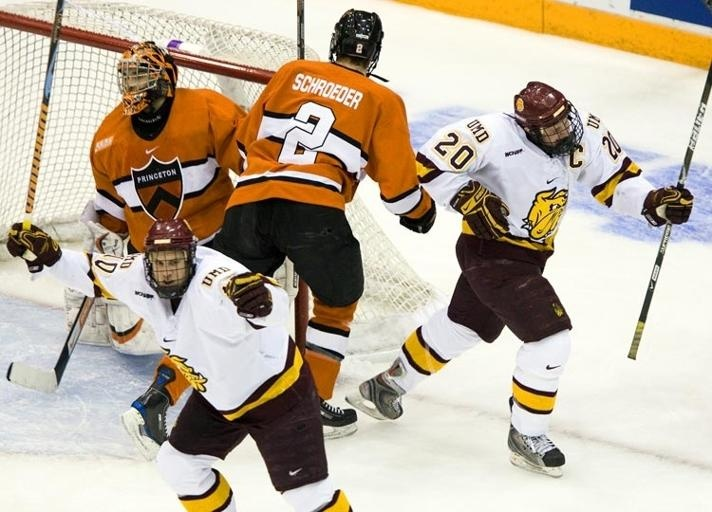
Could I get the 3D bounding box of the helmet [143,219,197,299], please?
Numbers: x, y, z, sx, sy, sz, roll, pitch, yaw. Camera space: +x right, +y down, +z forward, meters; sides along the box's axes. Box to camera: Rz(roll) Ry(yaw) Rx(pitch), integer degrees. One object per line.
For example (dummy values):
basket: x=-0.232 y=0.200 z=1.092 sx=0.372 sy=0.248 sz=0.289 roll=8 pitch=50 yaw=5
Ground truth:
helmet: x=-0.643 y=0.041 z=2.605 sx=0.195 sy=0.246 sz=0.254 roll=-2 pitch=-17 yaw=-17

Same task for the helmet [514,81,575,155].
helmet: x=0.798 y=-0.588 z=3.242 sx=0.269 sy=0.247 sz=0.220 roll=29 pitch=61 yaw=36

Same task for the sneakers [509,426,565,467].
sneakers: x=0.783 y=0.833 z=3.296 sx=0.107 sy=0.134 sz=0.292 roll=-13 pitch=11 yaw=-34

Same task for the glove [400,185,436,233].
glove: x=0.310 y=-0.210 z=3.425 sx=0.201 sy=0.151 sz=0.096 roll=-21 pitch=25 yaw=34

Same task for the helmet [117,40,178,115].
helmet: x=-0.919 y=-0.814 z=3.401 sx=0.217 sy=0.275 sz=0.274 roll=6 pitch=18 yaw=30

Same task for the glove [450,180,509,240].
glove: x=0.547 y=-0.195 z=3.200 sx=0.209 sy=0.241 sz=0.109 roll=-31 pitch=9 yaw=37

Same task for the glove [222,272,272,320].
glove: x=-0.333 y=0.121 z=2.406 sx=0.131 sy=0.149 sz=0.065 roll=-31 pitch=-7 yaw=-11

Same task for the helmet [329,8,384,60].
helmet: x=0.015 y=-0.979 z=3.377 sx=0.234 sy=0.261 sz=0.270 roll=10 pitch=23 yaw=-2

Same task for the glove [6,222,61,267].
glove: x=-1.135 y=-0.033 z=2.747 sx=0.137 sy=0.177 sz=0.084 roll=-50 pitch=9 yaw=1
